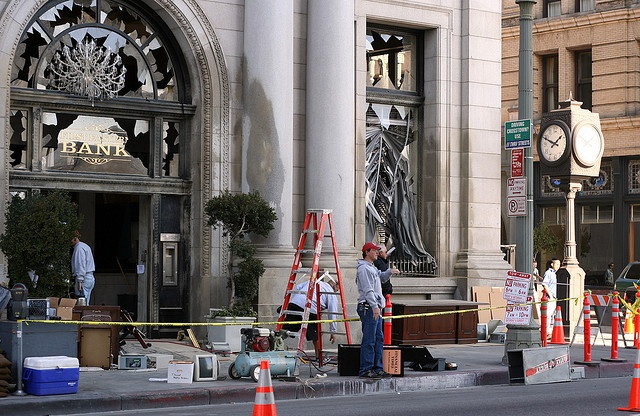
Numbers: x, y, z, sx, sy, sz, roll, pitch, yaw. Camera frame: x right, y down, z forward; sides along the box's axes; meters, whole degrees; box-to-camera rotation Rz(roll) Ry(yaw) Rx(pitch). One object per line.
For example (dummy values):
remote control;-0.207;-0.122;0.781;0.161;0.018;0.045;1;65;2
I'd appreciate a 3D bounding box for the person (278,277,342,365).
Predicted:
person;-0.285;2.988;35.900;1.248;2.187;1.418;0;6;2

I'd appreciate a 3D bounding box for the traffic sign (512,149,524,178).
traffic sign;5.275;-1.170;36.381;0.303;0.736;0.279;-1;-4;12

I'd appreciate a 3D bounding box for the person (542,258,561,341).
person;6.975;2.833;41.137;0.612;2.310;0.501;-5;-1;-10

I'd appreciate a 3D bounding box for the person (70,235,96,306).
person;-6.368;1.718;37.466;0.631;1.828;0.625;3;-3;36

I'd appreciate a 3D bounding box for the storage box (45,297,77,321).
storage box;-6.395;2.512;34.150;0.658;0.543;2.669;1;-4;-10

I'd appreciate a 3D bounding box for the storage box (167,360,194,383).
storage box;-3.370;3.972;33.202;0.553;0.447;0.529;1;-5;0

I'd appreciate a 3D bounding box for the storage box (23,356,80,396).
storage box;-6.311;3.882;32.242;1.117;0.903;1.083;2;-3;-32

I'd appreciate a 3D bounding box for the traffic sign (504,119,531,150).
traffic sign;5.300;-1.917;36.412;0.812;0.763;0.437;-2;-4;27

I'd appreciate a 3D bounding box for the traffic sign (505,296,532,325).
traffic sign;5.253;2.694;35.932;0.791;0.738;0.115;3;-2;28

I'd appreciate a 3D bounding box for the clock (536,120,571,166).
clock;7.443;-2.031;43.300;0.260;1.659;1.570;7;-8;-41

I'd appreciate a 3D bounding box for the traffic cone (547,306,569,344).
traffic cone;6.992;3.417;40.074;0.490;1.074;1.128;-1;-4;9

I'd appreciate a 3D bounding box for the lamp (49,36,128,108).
lamp;-6.688;-3.821;39.274;2.078;1.919;1.805;0;1;7

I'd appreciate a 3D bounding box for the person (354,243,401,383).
person;1.290;2.540;33.947;0.755;3.298;0.690;-1;-4;13

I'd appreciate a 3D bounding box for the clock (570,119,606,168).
clock;8.452;-1.969;43.047;1.119;1.450;0.247;2;-4;-27

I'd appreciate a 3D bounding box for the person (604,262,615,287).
person;11.087;2.540;52.332;0.337;0.915;1.566;-1;-4;11
